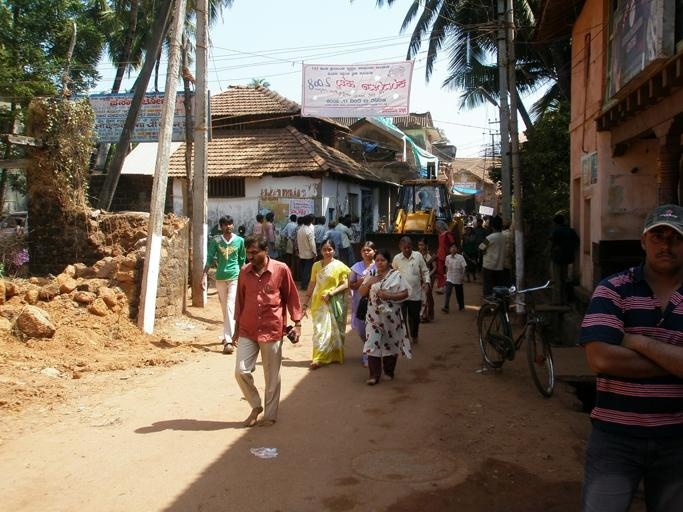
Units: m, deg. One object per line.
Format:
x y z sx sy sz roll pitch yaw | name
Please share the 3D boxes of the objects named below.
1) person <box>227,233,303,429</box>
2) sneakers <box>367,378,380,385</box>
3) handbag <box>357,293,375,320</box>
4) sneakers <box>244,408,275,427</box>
-0.857 0.842 6.724 0.763 2.142 0.675 -1 6 -10 | person
0.441 1.738 7.977 0.064 0.080 0.187 -3 -14 16 | sneakers
0.307 0.765 8.394 0.133 0.375 0.281 -5 7 -35 | handbag
-0.936 1.845 6.545 0.145 0.208 0.486 -13 -26 25 | sneakers
